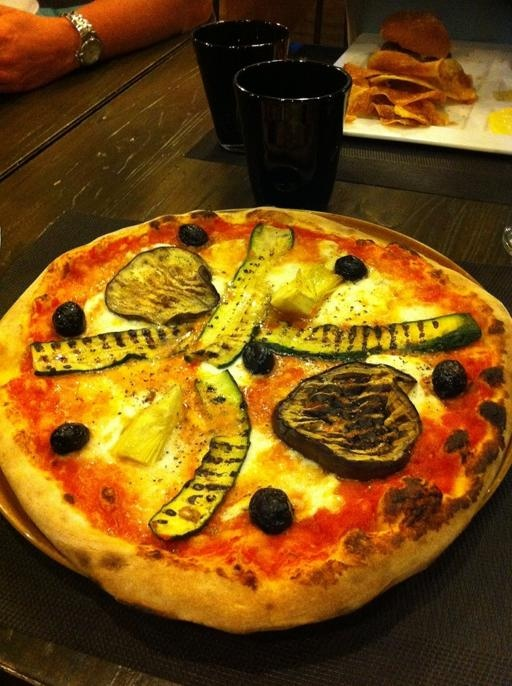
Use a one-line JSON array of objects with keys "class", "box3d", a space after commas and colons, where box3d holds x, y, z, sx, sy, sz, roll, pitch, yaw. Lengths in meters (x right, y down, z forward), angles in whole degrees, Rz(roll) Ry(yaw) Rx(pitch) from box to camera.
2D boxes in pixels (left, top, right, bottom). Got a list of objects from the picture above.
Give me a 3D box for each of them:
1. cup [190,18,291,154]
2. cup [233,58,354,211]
[{"class": "cup", "box3d": [-0.006, -0.728, 1.785, 0.329, 0.326, 0.254, -1, 41, 4]}, {"class": "cup", "box3d": [0.082, -0.503, 1.472, 0.314, 0.303, 0.369, 4, 30, 7]}]
